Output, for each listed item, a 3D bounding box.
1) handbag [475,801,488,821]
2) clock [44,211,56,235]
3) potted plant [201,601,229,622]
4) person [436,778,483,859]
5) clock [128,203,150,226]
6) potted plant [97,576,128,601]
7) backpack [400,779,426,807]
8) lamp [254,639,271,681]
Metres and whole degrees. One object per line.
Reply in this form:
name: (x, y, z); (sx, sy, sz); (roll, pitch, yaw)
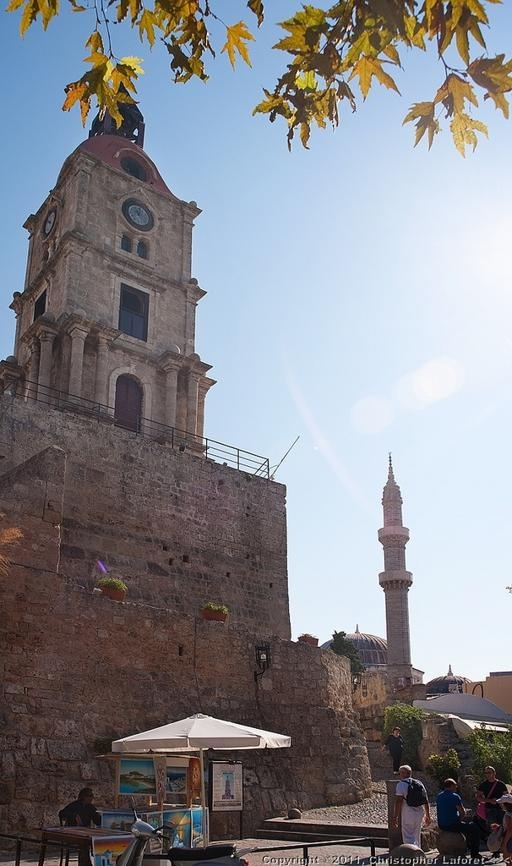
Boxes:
handbag: (2.715, 4.610, 10.646); (0.138, 0.147, 0.138); (-4, 1, -29)
clock: (-7.518, -7.662, 32.112); (0.188, 0.837, 0.848); (10, -67, -8)
potted plant: (-0.916, 3.902, 18.873); (0.544, 0.367, 0.533); (9, -25, -14)
person: (2.377, 4.548, 10.189); (0.490, 0.720, 0.452); (0, -22, -8)
clock: (-4.235, -7.924, 31.985); (0.202, 0.860, 0.855); (-10, -4, 39)
potted plant: (-2.718, 2.957, 16.763); (0.585, 0.421, 0.546); (-1, -23, 24)
backpack: (1.833, 4.151, 10.090); (0.290, 0.308, 0.202); (2, -22, -14)
lamp: (0.177, 4.673, 17.861); (0.193, 0.766, 0.519); (-16, -25, 29)
